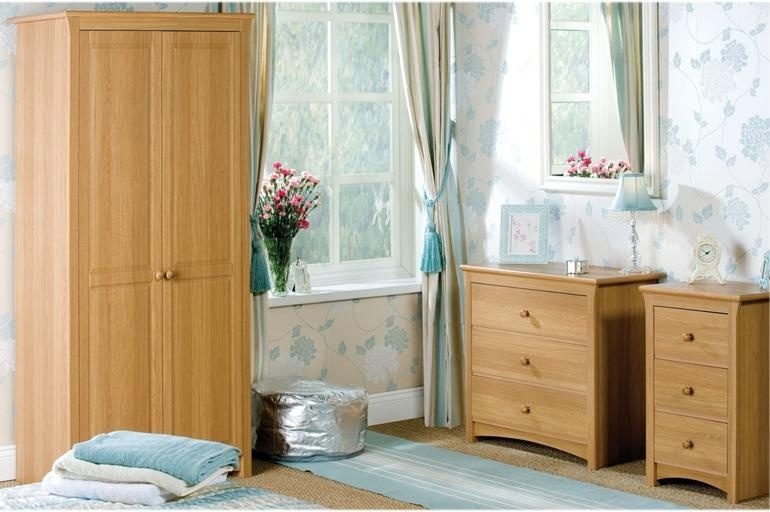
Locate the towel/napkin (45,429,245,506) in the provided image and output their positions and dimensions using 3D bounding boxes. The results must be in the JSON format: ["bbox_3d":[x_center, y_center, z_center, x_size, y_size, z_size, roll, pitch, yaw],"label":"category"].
[{"bbox_3d":[-0.760,0.697,2.200,0.328,0.097,0.315,2,4,21],"label":"towel/napkin"}]

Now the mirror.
[{"bbox_3d":[1.352,-1.030,4.123,0.184,1.318,0.805,-5,7,-36],"label":"mirror"}]

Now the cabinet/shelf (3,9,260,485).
[{"bbox_3d":[-1.446,-0.023,3.696,1.414,2.702,0.463,-2,6,-11],"label":"cabinet/shelf"}]

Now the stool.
[{"bbox_3d":[-0.490,1.048,4.050,0.547,0.299,0.553,4,4,38],"label":"stool"}]

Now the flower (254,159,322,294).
[{"bbox_3d":[-0.687,-0.194,4.571,0.435,0.915,0.247,-2,6,-12],"label":"flower"}]

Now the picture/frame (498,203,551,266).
[{"bbox_3d":[0.926,-0.139,4.341,0.446,0.506,0.041,-2,-7,22],"label":"picture/frame"}]
